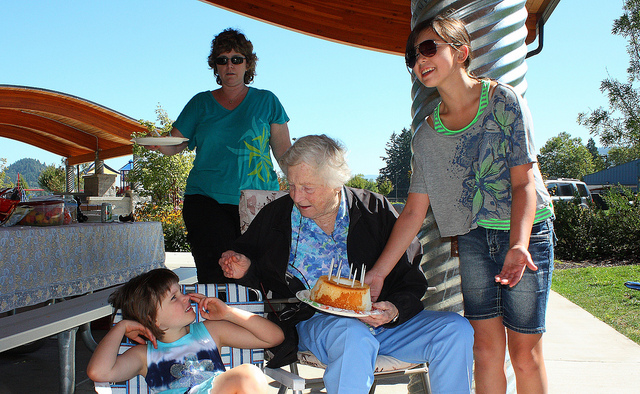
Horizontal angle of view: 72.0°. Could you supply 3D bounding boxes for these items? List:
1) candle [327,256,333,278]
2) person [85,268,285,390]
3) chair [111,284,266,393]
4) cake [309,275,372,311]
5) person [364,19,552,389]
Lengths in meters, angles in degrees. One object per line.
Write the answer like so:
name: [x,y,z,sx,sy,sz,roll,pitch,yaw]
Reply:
candle: [0.076,0.521,3.278,0.015,0.140,0.016,14,8,0]
person: [-0.923,0.913,3.060,1.181,0.815,0.470,0,4,3]
chair: [-0.902,0.932,3.364,0.923,0.955,0.753,0,-21,-3]
cake: [0.181,0.643,3.124,0.390,0.219,0.482,0,-3,-27]
person: [1.088,0.066,3.207,1.085,2.662,0.610,2,5,30]
